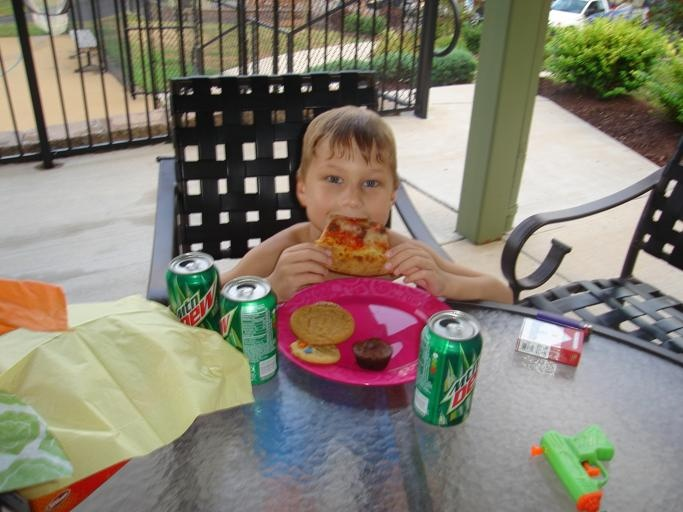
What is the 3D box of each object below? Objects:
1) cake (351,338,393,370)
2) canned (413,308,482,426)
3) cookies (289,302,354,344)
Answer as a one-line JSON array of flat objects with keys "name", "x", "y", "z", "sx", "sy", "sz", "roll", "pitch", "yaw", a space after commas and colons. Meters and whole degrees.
[{"name": "cake", "x": 0.082, "y": 0.230, "z": 1.117, "sx": 0.120, "sy": 0.055, "sz": 0.112, "roll": 12, "pitch": -22, "yaw": -39}, {"name": "canned", "x": 0.233, "y": 0.251, "z": 0.970, "sx": 0.131, "sy": 0.212, "sz": 0.133, "roll": 12, "pitch": 21, "yaw": 27}, {"name": "cookies", "x": -0.055, "y": 0.174, "z": 1.178, "sx": 0.166, "sy": 0.029, "sz": 0.161, "roll": 14, "pitch": 25, "yaw": 20}]
